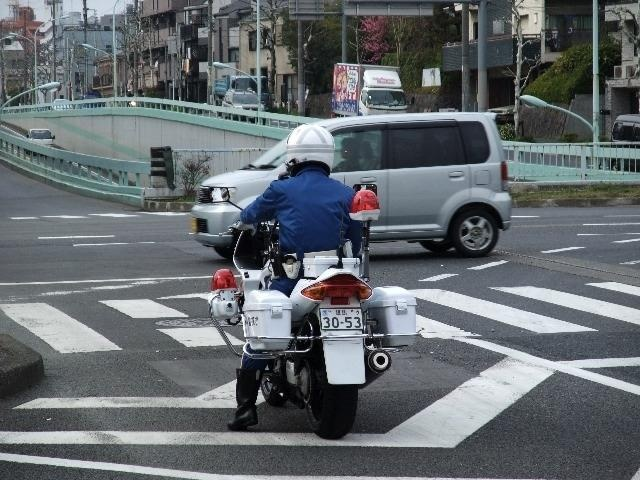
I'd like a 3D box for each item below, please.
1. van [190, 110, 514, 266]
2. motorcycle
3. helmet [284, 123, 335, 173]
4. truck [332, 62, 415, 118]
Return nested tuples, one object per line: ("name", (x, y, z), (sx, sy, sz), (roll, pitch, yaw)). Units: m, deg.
("van", (0.767, -1.001, 17.824), (4.075, 2.216, 2.526), (1, 3, -8))
("motorcycle", (-0.214, 0.738, 10.598), (1.228, 1.878, 2.836), (-1, 9, -12))
("helmet", (-0.107, -0.897, 9.996), (0.319, 0.498, 0.360), (-5, 15, -23))
("truck", (2.664, -6.950, 50.335), (2.127, 3.494, 6.417), (-3, 6, -17))
